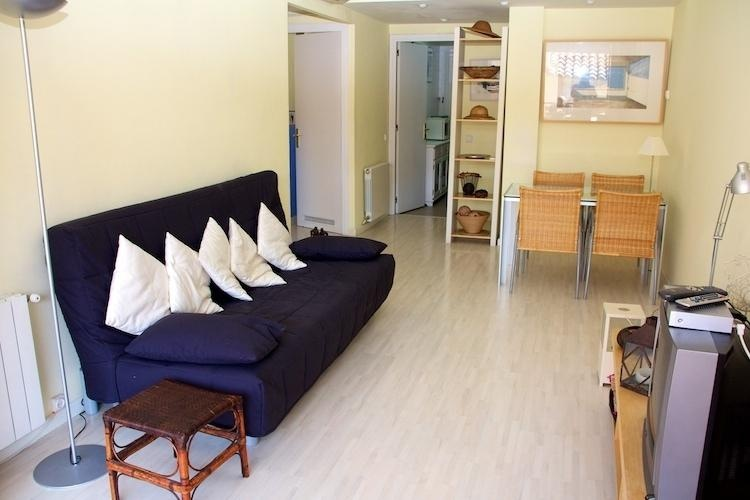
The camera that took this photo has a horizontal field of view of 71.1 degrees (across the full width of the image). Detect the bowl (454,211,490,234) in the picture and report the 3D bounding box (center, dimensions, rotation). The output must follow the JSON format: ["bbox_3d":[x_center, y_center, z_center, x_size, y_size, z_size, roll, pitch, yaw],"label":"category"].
[{"bbox_3d":[1.314,-0.375,7.107,0.419,0.295,0.349,1,19,5],"label":"bowl"}]

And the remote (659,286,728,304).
[{"bbox_3d":[1.455,0.192,2.422,0.257,0.068,0.141,-3,7,-11],"label":"remote"}]

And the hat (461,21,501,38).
[{"bbox_3d":[1.371,-2.830,6.710,0.346,0.234,0.506,12,22,31],"label":"hat"}]

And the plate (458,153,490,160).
[{"bbox_3d":[1.333,-1.231,7.044,0.410,0.061,0.282,3,19,10],"label":"plate"}]

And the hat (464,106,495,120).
[{"bbox_3d":[1.403,-1.839,7.054,0.325,0.134,0.323,5,16,24],"label":"hat"}]

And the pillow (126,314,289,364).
[{"bbox_3d":[-1.087,0.585,3.282,0.795,0.237,0.471,2,8,16],"label":"pillow"}]

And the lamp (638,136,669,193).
[{"bbox_3d":[3.171,-0.966,6.004,0.263,0.694,0.931,10,21,27],"label":"lamp"}]

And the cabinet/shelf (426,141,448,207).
[{"bbox_3d":[1.077,-1.363,9.313,0.455,1.116,1.191,3,20,13],"label":"cabinet/shelf"}]

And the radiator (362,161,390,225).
[{"bbox_3d":[-0.011,-0.846,7.650,0.120,0.647,0.899,4,13,19],"label":"radiator"}]

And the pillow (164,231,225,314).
[{"bbox_3d":[-1.264,0.114,3.946,0.122,0.416,0.445,-22,28,-16],"label":"pillow"}]

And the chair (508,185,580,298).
[{"bbox_3d":[1.829,-0.161,5.496,0.695,1.061,0.822,7,20,19],"label":"chair"}]

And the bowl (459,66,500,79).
[{"bbox_3d":[1.356,-2.294,6.780,0.481,0.146,0.230,2,19,6],"label":"bowl"}]

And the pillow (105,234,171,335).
[{"bbox_3d":[-1.497,0.224,3.315,0.161,0.526,0.558,-13,-31,26],"label":"pillow"}]

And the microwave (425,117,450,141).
[{"bbox_3d":[1.120,-2.181,9.470,0.485,0.454,0.699,5,17,18],"label":"microwave"}]
